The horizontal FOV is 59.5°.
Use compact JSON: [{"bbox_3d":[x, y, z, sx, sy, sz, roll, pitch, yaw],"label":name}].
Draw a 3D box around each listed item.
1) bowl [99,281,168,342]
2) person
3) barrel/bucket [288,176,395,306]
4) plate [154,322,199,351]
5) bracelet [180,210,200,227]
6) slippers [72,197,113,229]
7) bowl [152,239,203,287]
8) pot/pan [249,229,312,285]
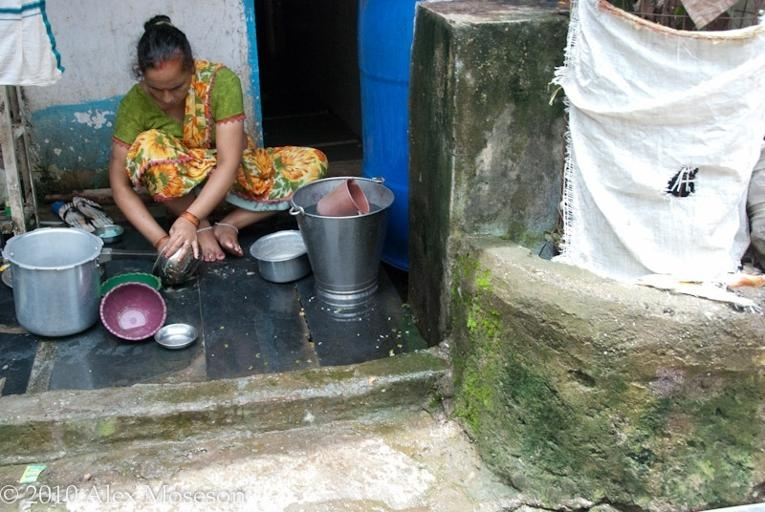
[{"bbox_3d":[-1.209,0.263,3.225,0.259,0.209,0.266,0,23,0],"label":"bowl"},{"bbox_3d":[-0.846,-0.581,3.980,1.163,1.498,1.238,-6,65,-5],"label":"person"},{"bbox_3d":[-0.192,-0.052,3.479,0.516,0.532,0.495,-2,22,1],"label":"barrel/bucket"},{"bbox_3d":[-0.993,0.386,3.223,0.202,0.064,0.174,-7,23,-16],"label":"plate"},{"bbox_3d":[-1.030,-0.199,3.608,0.084,0.089,0.035,24,74,34],"label":"bracelet"},{"bbox_3d":[-1.788,-0.255,4.118,0.284,0.060,0.184,45,31,22],"label":"slippers"},{"bbox_3d":[-1.035,0.033,3.580,0.316,0.188,0.310,1,25,0],"label":"bowl"},{"bbox_3d":[-0.549,0.011,3.652,0.381,0.121,0.373,-7,27,-13],"label":"pot/pan"}]
